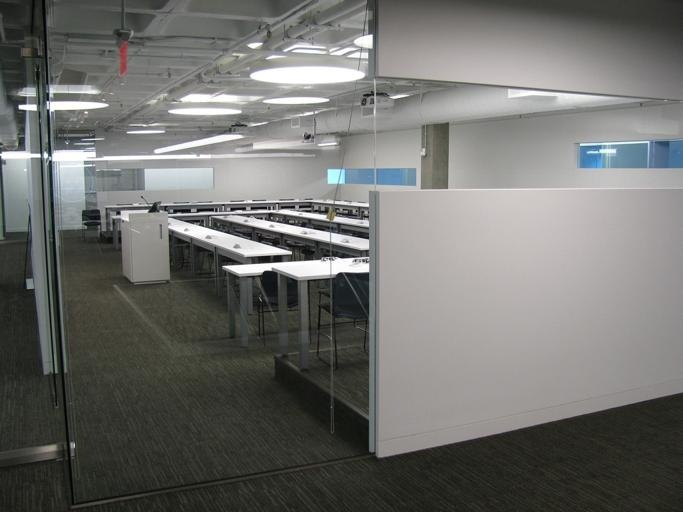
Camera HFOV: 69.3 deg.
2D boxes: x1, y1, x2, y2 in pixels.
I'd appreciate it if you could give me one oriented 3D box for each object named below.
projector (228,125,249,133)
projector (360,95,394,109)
[{"bbox_3d":[-0.659,-0.822,3.190,0.115,0.048,0.019,-4,11,-19],"label":"projector"},{"bbox_3d":[0.234,-1.031,3.321,0.146,0.050,0.112,-2,6,-1],"label":"projector"}]
